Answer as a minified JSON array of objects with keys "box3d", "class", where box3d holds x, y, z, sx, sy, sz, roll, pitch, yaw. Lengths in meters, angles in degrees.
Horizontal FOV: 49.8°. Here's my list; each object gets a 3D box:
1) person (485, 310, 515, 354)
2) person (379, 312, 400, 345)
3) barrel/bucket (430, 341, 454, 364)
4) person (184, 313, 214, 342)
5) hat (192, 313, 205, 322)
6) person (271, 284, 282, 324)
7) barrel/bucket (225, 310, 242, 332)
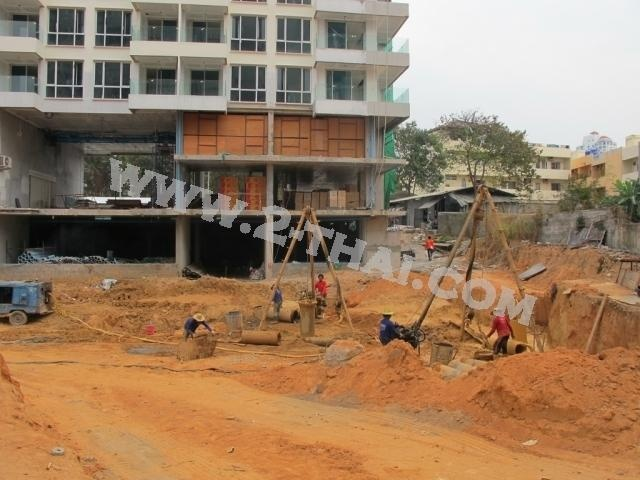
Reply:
[{"box3d":[5.926,2.955,22.490,0.802,1.790,0.563,-2,18,0],"class":"person"},{"box3d":[2.320,2.842,22.598,0.647,1.103,0.804,-6,9,-24],"class":"person"},{"box3d":[3.947,3.635,22.122,0.740,0.777,0.542,1,-5,3],"class":"barrel/bucket"},{"box3d":[-4.436,3.128,25.020,0.761,1.002,0.991,2,11,8],"class":"person"},{"box3d":[-4.360,2.779,24.860,0.304,0.113,0.297,30,-15,-31],"class":"hat"},{"box3d":[-1.736,2.716,28.868,0.372,1.024,1.183,0,11,-4],"class":"person"},{"box3d":[-3.360,3.218,27.492,0.664,1.020,0.689,0,-3,0],"class":"barrel/bucket"}]
